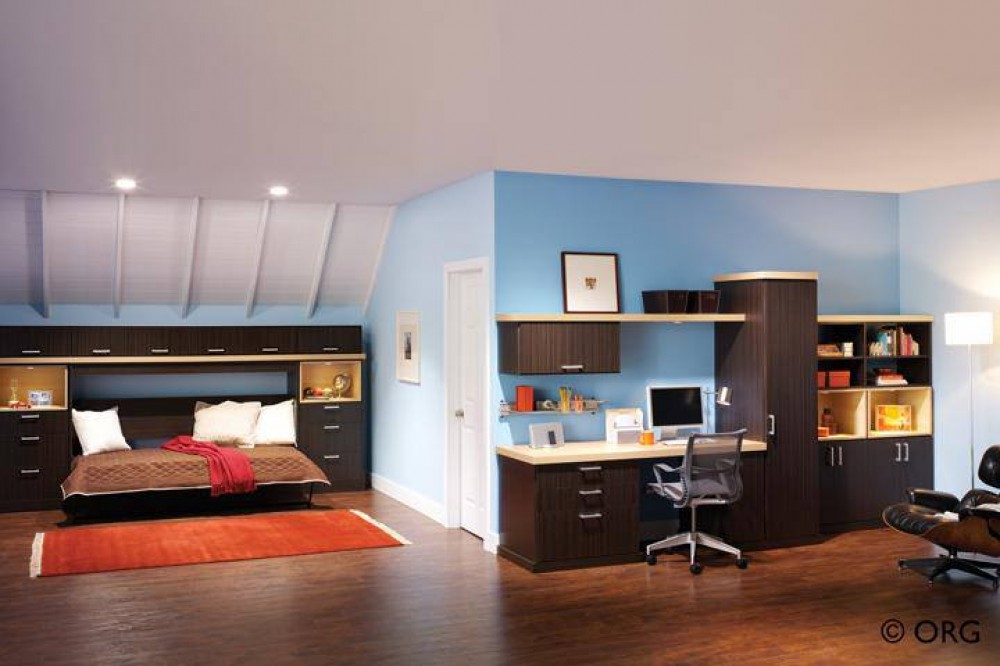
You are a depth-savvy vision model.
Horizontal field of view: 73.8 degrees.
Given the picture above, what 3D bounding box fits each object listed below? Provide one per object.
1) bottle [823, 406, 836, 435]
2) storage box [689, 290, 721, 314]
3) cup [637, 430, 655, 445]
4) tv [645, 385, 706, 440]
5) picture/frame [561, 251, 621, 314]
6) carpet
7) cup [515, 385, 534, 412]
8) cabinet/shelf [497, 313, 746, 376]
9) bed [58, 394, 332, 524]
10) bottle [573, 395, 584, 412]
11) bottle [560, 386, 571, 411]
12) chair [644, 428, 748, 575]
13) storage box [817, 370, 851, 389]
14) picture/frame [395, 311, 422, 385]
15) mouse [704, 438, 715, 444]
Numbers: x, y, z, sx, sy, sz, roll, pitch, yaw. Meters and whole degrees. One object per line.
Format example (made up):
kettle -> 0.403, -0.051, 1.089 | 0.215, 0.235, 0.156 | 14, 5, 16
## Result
bottle -> 3.709, 0.988, 7.513 | 0.150, 0.273, 0.298 | 1, 2, 26
storage box -> 2.153, -0.323, 6.952 | 0.261, 0.242, 0.263 | 4, 4, 28
cup -> 1.485, 1.042, 6.656 | 0.138, 0.123, 0.134 | 1, -6, 0
tv -> 1.784, 0.814, 6.804 | 0.592, 0.473, 0.254 | 0, -2, -20
picture/frame -> 0.904, -0.516, 6.814 | 0.704, 0.620, 0.089 | 0, -2, -10
carpet -> -3.106, 2.173, 7.105 | 3.604, 0.051, 1.697 | 0, 1, -15
cup -> 0.247, 0.645, 6.569 | 0.237, 0.294, 0.219 | 1, -3, 0
cabinet/shelf -> 0.934, 0.089, 6.634 | 1.894, 0.571, 0.375 | 0, 2, -17
bed -> -4.115, 1.799, 8.521 | 2.401, 1.095, 1.633 | 1, -3, -28
bottle -> 0.800, 0.702, 6.719 | 0.137, 0.154, 0.082 | -1, 2, -39
bottle -> 0.680, 0.653, 6.710 | 0.159, 0.241, 0.093 | -1, 2, -24
chair -> 1.893, 1.540, 6.320 | 0.877, 1.297, 0.820 | 1, 2, 19
storage box -> 3.704, 0.504, 7.390 | 0.292, 0.163, 0.273 | 1, -1, -5
picture/frame -> -1.135, 0.172, 8.365 | 0.057, 1.066, 0.978 | 1, -3, -26
mouse -> 1.919, 0.969, 6.059 | 0.085, 0.058, 0.036 | 0, 2, 15
